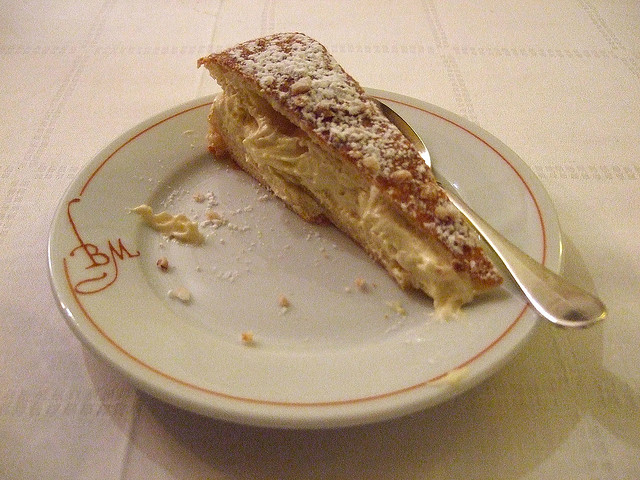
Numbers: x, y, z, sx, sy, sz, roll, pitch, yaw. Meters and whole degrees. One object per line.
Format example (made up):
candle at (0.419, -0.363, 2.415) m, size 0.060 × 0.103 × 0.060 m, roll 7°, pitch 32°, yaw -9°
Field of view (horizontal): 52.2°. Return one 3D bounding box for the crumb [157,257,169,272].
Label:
crumb at (-0.432, 0.067, 1.810) m, size 0.039 × 0.014 × 0.031 m, roll 40°, pitch 72°, yaw 15°

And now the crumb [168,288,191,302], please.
crumb at (-0.374, 0.148, 1.748) m, size 0.041 × 0.016 × 0.034 m, roll -2°, pitch 44°, yaw 6°

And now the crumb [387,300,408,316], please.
crumb at (0.208, 0.179, 1.738) m, size 0.027 × 0.011 × 0.045 m, roll -21°, pitch 44°, yaw -20°

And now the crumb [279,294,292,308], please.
crumb at (-0.096, 0.165, 1.751) m, size 0.028 × 0.013 × 0.046 m, roll -27°, pitch 69°, yaw -12°

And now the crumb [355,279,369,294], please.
crumb at (0.117, 0.129, 1.780) m, size 0.028 × 0.008 × 0.047 m, roll -20°, pitch 68°, yaw -9°

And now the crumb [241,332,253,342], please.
crumb at (-0.188, 0.248, 1.678) m, size 0.014 × 0.007 × 0.024 m, roll 1°, pitch 27°, yaw 6°
